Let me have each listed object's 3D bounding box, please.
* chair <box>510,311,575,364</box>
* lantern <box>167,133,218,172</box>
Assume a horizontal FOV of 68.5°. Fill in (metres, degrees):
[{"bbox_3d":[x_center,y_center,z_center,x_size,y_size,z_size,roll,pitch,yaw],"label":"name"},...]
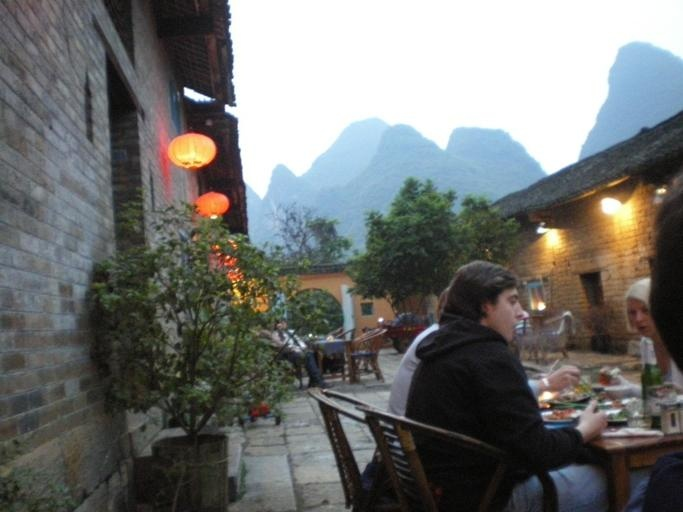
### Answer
[{"bbox_3d":[4.801,1.955,12.089,1.568,1.654,1.279,2,-12,-6],"label":"chair"},{"bbox_3d":[-2.212,-1.520,7.395,0.633,0.493,0.646,1,7,31],"label":"lantern"}]
